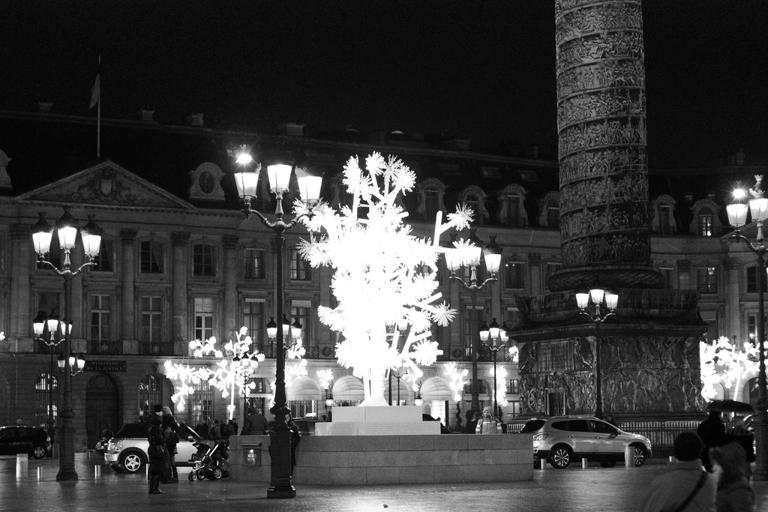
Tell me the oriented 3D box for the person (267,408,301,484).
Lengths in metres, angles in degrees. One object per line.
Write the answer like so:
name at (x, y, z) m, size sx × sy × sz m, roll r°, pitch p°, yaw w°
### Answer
person at (-3.176, 6.019, 55.108) m, size 0.807 × 2.714 × 1.091 m, roll 1°, pitch -21°, yaw -17°

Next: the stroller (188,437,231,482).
stroller at (-6.025, 6.957, 58.750) m, size 1.558 × 1.327 × 0.999 m, roll -5°, pitch 4°, yaw 0°

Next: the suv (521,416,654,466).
suv at (7.629, 7.128, 65.487) m, size 5.283 × 1.787 × 2.608 m, roll 3°, pitch -1°, yaw -23°
